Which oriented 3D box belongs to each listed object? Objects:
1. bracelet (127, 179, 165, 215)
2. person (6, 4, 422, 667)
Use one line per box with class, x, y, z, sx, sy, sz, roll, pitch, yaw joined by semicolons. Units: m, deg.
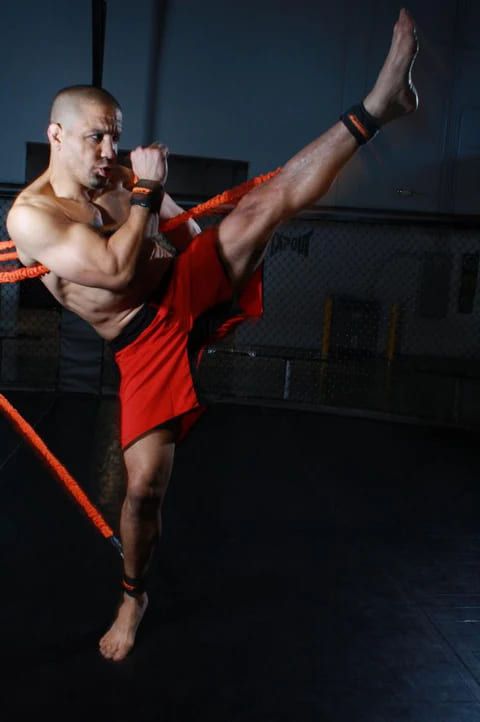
bracelet;-0.183;-0.331;1.269;0.061;0.060;0.074;24;-7;22
person;-0.121;-0.025;1.347;0.822;1.403;0.377;7;8;12
